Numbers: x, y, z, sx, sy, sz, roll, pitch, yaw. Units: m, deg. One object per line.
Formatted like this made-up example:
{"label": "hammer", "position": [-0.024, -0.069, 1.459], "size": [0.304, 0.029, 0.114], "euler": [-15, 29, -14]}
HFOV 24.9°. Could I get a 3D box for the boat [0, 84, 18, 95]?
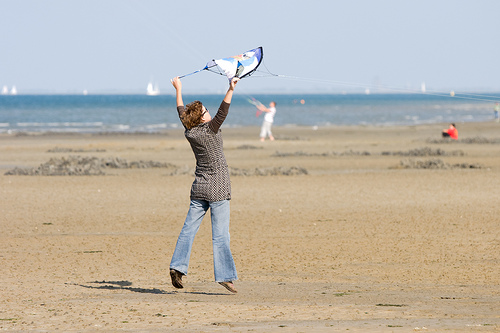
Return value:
{"label": "boat", "position": [-5.706, -1.791, 27.051], "size": [0.380, 0.216, 1.126], "euler": [-1, 6, -12]}
